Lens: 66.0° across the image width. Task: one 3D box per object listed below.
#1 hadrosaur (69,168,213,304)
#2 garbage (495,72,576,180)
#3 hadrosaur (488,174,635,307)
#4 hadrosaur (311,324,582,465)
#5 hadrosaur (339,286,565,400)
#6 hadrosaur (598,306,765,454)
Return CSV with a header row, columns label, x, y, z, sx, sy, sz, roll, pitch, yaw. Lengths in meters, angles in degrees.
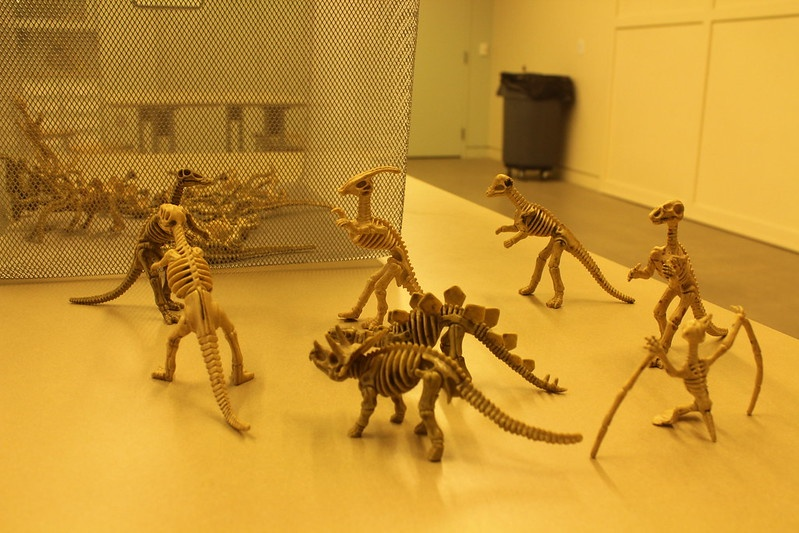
label,x,y,z,sx,sy,sz,roll,pitch,yaw
hadrosaur,-1.425,-0.145,3.333,0.733,0.833,0.252,1,11,-6
garbage,1.485,-1.662,6.939,0.913,1.273,0.959,-2,25,-7
hadrosaur,0.970,-0.129,3.658,0.922,0.770,0.354,4,13,10
hadrosaur,0.107,0.520,2.409,1.158,0.488,0.271,7,3,31
hadrosaur,0.209,0.330,2.649,0.944,0.470,0.307,-1,-7,5
hadrosaur,1.197,0.467,2.497,0.779,0.601,0.232,-14,28,-6
